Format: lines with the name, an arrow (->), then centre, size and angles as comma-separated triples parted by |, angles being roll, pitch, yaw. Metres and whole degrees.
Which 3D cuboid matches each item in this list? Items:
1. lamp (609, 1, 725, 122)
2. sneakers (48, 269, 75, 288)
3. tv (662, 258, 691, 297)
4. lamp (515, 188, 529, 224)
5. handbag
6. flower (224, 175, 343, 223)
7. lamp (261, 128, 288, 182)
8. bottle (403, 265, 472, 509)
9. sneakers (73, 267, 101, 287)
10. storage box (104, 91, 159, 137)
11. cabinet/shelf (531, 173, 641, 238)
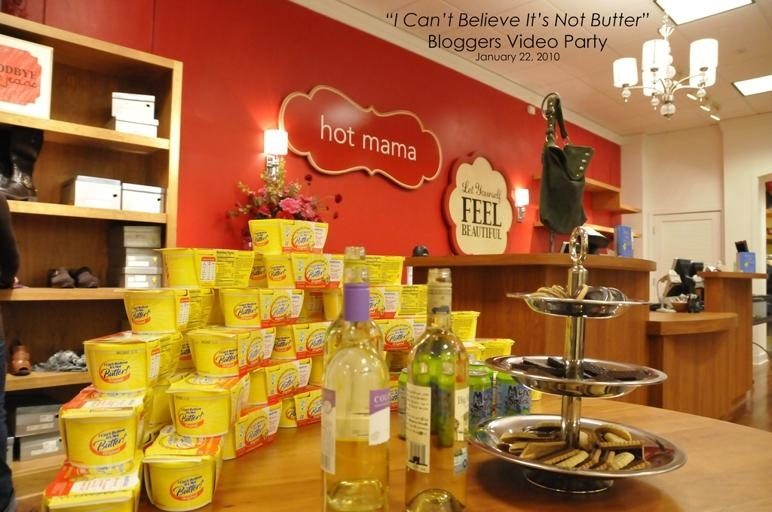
lamp -> 2.425, -1.636, 4.843 | 0.507, 0.671, 0.554 | -15, 20, -30
sneakers -> -1.939, 0.131, 3.315 | 0.135, 0.111, 0.224 | 2, -3, -31
tv -> 2.663, 0.202, 5.080 | 0.229, 0.341, 0.339 | -1, -3, 26
lamp -> 1.644, -0.619, 6.661 | 0.130, 0.439, 0.383 | -2, -3, 36
handbag -> 0.999, -0.376, 3.101 | 0.259, 0.498, 0.095 | 1, -3, -7
flower -> -0.816, -0.448, 4.176 | 0.733, 0.390, 0.608 | 1, -2, -28
lamp -> -0.850, -0.779, 4.256 | 0.200, 0.495, 0.455 | 1, -2, -11
bottle -> 0.133, 0.355, 1.482 | 0.166, 0.638, 0.113 | 0, -3, 4
sneakers -> -1.818, 0.135, 3.365 | 0.083, 0.075, 0.190 | 2, -6, -35
storage box -> -1.575, -0.870, 3.483 | 0.294, 0.268, 0.150 | 2, -3, -31
cabinet/shelf -> 2.777, -0.763, 7.611 | 1.825, 0.506, 0.537 | 2, 7, -35
